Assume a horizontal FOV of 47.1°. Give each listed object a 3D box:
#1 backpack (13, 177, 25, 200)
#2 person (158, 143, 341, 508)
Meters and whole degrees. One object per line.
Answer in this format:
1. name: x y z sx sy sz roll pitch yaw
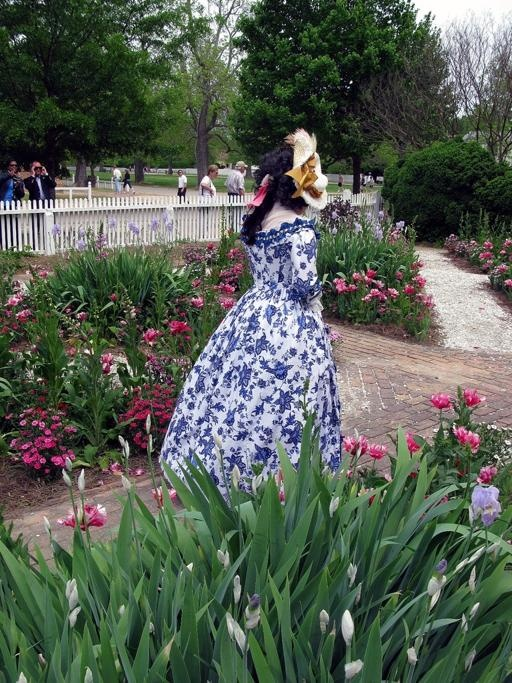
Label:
1. backpack: -5.644 -3.591 13.827 0.166 0.470 0.339 3 24 15
2. person: -0.002 -0.170 3.240 0.994 1.979 0.915 1 16 -11
